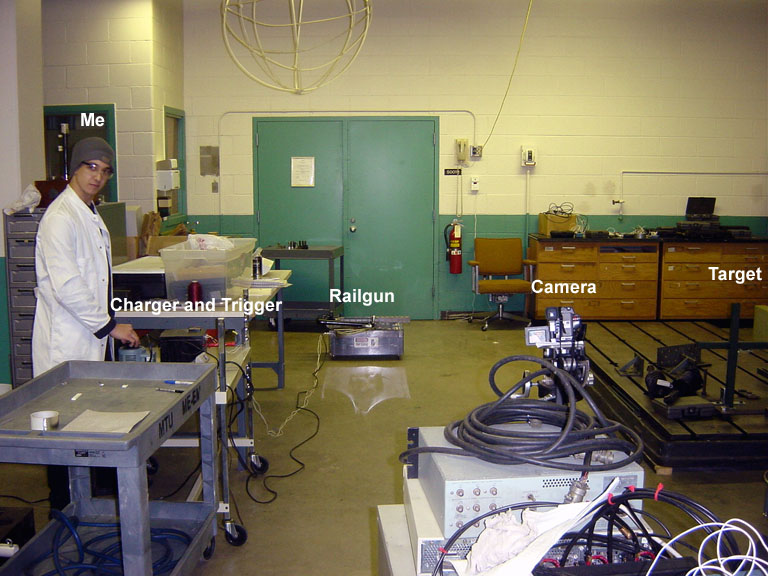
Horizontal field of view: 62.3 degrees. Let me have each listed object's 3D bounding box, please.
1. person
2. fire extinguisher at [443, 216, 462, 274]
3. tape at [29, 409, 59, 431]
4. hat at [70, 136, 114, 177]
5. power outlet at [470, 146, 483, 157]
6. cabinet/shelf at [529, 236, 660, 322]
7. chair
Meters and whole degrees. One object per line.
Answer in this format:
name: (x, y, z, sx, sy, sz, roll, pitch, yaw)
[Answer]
person: (-1.473, 0.183, 3.078, 0.477, 1.765, 0.531, -6, 14, -24)
fire extinguisher: (0.801, -0.443, 7.197, 0.218, 0.633, 0.225, -1, 13, -3)
tape: (-1.133, 0.440, 2.113, 0.072, 0.038, 0.067, 2, 1, 6)
hat: (-1.426, -0.623, 3.047, 0.207, 0.171, 0.170, -4, 12, -17)
power outlet: (1.039, -1.501, 7.111, 0.177, 0.145, 0.113, -1, 6, -5)
cabinet/shelf: (2.302, -0.089, 7.349, 2.032, 1.179, 1.018, 0, 1, 0)
chair: (1.293, -0.050, 7.019, 0.751, 0.907, 0.622, -1, 10, -10)
